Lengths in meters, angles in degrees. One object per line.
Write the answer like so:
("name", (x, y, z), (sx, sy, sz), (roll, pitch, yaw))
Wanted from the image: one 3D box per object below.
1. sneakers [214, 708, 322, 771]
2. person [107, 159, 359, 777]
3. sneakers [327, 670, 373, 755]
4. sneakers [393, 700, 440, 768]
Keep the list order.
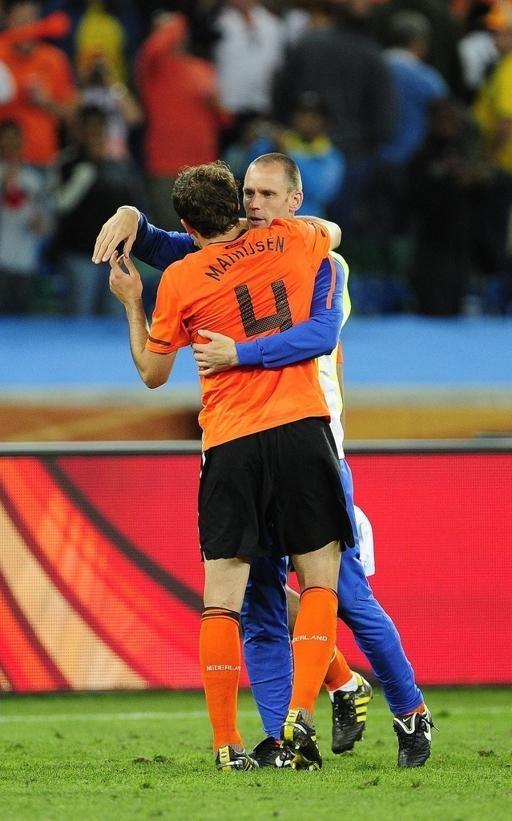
("sneakers", (0.075, 0.858, 2.931), (0.138, 0.167, 0.401), (-10, -23, 25))
("person", (-0.058, 0.142, 2.957), (0.631, 1.578, 0.284), (1, -6, -7))
("sneakers", (0.280, 0.903, 3.387), (0.093, 0.257, 0.149), (2, -12, 41))
("sneakers", (0.448, 0.901, 3.164), (0.080, 0.177, 0.083), (-7, -6, 23))
